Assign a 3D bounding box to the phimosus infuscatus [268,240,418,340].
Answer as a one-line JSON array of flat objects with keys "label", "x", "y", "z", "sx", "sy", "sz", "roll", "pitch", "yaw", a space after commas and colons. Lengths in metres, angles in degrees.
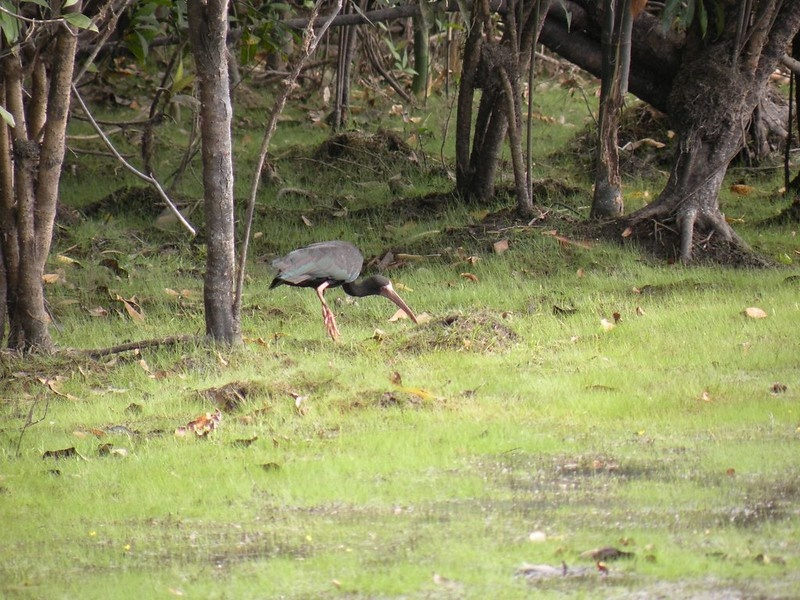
[{"label": "phimosus infuscatus", "x": -0.584, "y": -0.129, "z": 14.030, "sx": 1.501, "sy": 0.894, "sz": 0.398, "roll": 7, "pitch": -10, "yaw": -23}]
